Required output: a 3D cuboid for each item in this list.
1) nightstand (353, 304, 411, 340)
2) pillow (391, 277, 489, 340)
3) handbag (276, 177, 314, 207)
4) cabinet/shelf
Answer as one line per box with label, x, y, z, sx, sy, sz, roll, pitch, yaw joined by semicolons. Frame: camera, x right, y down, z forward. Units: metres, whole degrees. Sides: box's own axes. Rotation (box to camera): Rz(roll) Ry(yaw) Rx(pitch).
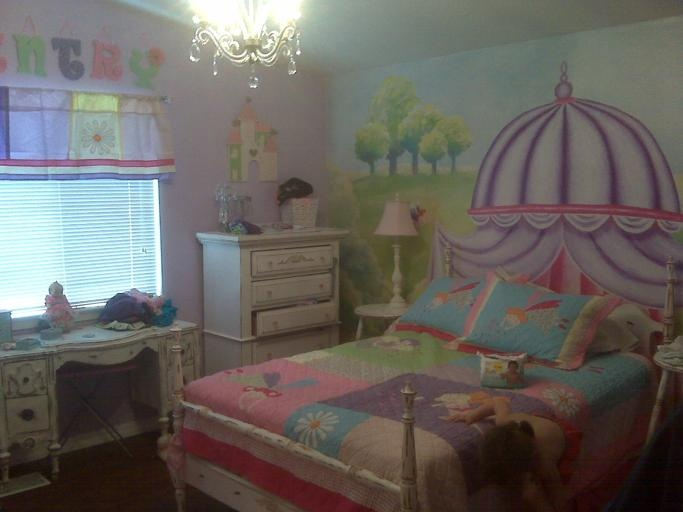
nightstand;0.361;0.498;5.055;0.363;0.408;0.384;3;5;37
pillow;0.688;0.512;4.676;0.905;0.202;0.864;14;-5;0
handbag;-0.459;-0.652;5.516;0.325;0.221;0.088;-17;-8;-23
cabinet/shelf;-0.640;0.362;4.841;1.211;1.456;0.764;-5;7;-44
